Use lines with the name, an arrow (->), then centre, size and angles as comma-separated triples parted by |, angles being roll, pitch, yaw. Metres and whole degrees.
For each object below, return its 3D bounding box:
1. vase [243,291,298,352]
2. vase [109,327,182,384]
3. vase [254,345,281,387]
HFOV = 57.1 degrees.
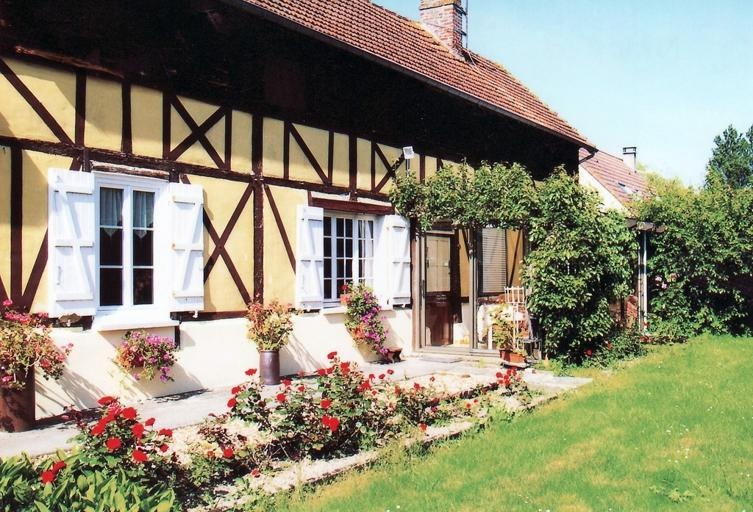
vase -> -1.745, 1.013, 11.416 | 0.669, 0.979, 0.831 | 4, 3, 15
vase -> -3.420, 1.504, 10.232 | 0.903, 0.840, 0.451 | -3, 9, -23
vase -> -1.736, 1.795, 11.187 | 0.475, 0.841, 0.462 | 1, -6, -11
